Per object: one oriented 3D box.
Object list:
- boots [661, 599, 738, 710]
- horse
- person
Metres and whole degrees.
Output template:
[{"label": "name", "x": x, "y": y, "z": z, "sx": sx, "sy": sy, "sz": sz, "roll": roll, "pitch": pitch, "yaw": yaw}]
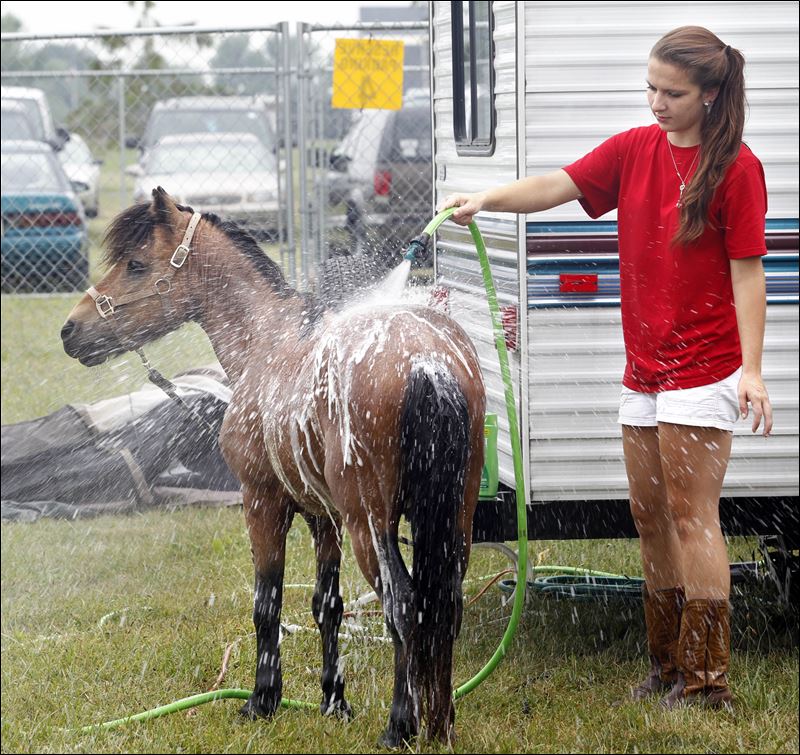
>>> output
[{"label": "boots", "x": 1.130, "y": 1.059, "z": 4.470, "sx": 0.322, "sy": 0.454, "sz": 0.217, "roll": -4, "pitch": 12, "yaw": 31}, {"label": "horse", "x": -0.575, "y": 0.478, "z": 4.969, "sx": 0.728, "sy": 2.463, "sz": 2.315, "roll": -1, "pitch": 1, "yaw": -39}, {"label": "person", "x": 1.032, "y": 0.000, "z": 4.412, "sx": 0.919, "sy": 2.582, "sz": 0.372, "roll": 10, "pitch": 16, "yaw": 42}]
